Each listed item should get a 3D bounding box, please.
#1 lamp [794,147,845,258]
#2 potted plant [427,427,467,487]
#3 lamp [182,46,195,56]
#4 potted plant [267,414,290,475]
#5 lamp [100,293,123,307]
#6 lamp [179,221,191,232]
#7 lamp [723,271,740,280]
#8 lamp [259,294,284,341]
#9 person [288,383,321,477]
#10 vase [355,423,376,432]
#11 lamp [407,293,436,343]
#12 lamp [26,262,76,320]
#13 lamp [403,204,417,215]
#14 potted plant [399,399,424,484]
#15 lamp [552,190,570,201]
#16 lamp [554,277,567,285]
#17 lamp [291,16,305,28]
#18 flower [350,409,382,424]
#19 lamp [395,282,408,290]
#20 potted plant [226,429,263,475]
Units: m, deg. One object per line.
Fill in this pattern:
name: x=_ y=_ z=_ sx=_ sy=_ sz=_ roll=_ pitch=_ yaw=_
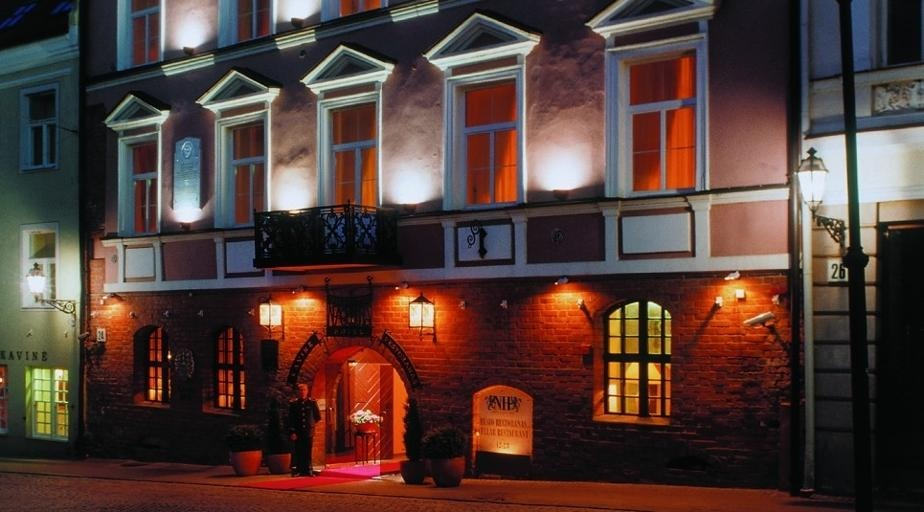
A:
lamp: x=9.533 y=-1.374 z=30.966 sx=1.466 sy=2.550 sz=0.939 roll=6 pitch=-1 yaw=-16
potted plant: x=-0.509 y=5.762 z=33.171 sx=1.125 sy=1.674 sz=0.391 roll=-1 pitch=-7 yaw=-3
lamp: x=-8.976 y=-6.738 z=38.344 sx=0.380 sy=0.304 sz=0.272 roll=-2 pitch=-2 yaw=-7
potted plant: x=-5.605 y=5.773 z=35.944 sx=0.604 sy=1.853 sz=1.069 roll=-5 pitch=-8 yaw=27
lamp: x=-11.783 y=1.487 z=39.326 sx=0.907 sy=0.403 sz=0.114 roll=-5 pitch=-8 yaw=28
lamp: x=-9.037 y=-0.941 z=37.961 sx=0.484 sy=0.350 sz=0.298 roll=-4 pitch=-7 yaw=19
lamp: x=7.391 y=0.573 z=31.869 sx=0.438 sy=0.241 sz=0.123 roll=-3 pitch=-7 yaw=8
lamp: x=-6.011 y=1.939 z=36.697 sx=0.823 sy=1.384 sz=0.277 roll=-4 pitch=-7 yaw=19
person: x=-4.825 y=5.336 z=35.643 sx=0.873 sy=2.748 sz=1.029 roll=-1 pitch=-7 yaw=-9
vase: x=-2.993 y=5.475 z=36.860 sx=0.486 sy=0.205 sz=0.482 roll=8 pitch=-11 yaw=-43
lamp: x=-1.173 y=1.866 z=34.754 sx=0.836 sy=1.416 sz=0.182 roll=-4 pitch=-7 yaw=20
lamp: x=-14.370 y=1.269 z=40.026 sx=1.638 sy=1.988 sz=1.945 roll=5 pitch=-9 yaw=-43
lamp: x=-1.552 y=-1.385 z=34.989 sx=0.376 sy=0.318 sz=0.256 roll=2 pitch=-7 yaw=-10
potted plant: x=-1.417 y=5.394 z=33.795 sx=0.712 sy=2.481 sz=1.070 roll=-1 pitch=-7 yaw=-3
lamp: x=2.846 y=-1.715 z=33.290 sx=0.348 sy=0.213 sz=0.333 roll=1 pitch=-4 yaw=-2
lamp: x=2.815 y=0.728 z=33.266 sx=0.275 sy=0.254 sz=0.170 roll=4 pitch=3 yaw=29
lamp: x=-5.195 y=-7.356 z=36.729 sx=0.360 sy=0.254 sz=0.363 roll=2 pitch=9 yaw=0
flower: x=-3.143 y=5.124 z=36.801 sx=0.634 sy=0.260 sz=0.616 roll=3 pitch=-6 yaw=-28
lamp: x=-1.807 y=0.932 z=35.105 sx=0.459 sy=0.217 sz=0.060 roll=-5 pitch=-8 yaw=30
potted plant: x=-6.629 y=5.967 z=35.529 sx=1.008 sy=1.505 sz=0.412 roll=0 pitch=-7 yaw=-11
